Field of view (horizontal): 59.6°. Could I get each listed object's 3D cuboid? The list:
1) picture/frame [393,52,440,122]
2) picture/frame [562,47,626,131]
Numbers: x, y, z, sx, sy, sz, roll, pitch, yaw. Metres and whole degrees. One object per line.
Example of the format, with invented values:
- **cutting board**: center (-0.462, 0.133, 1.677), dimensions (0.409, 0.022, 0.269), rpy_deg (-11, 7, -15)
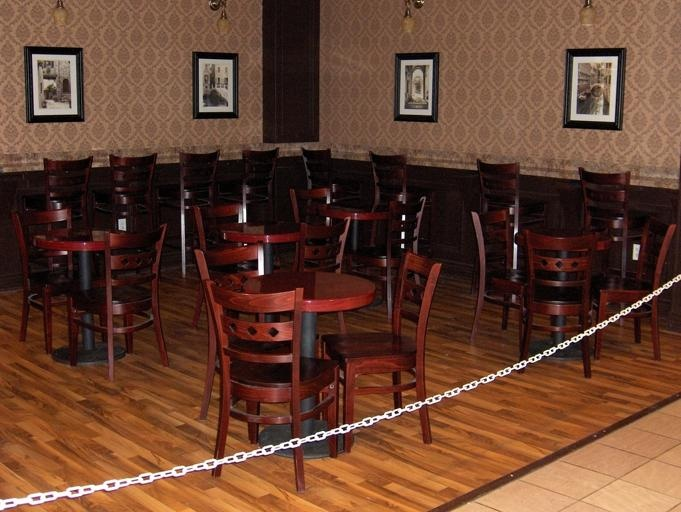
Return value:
- **picture/frame**: center (1.051, -2.318, 8.123), dimensions (0.190, 0.925, 0.742), rpy_deg (-12, 18, -43)
- **picture/frame**: center (2.868, -1.885, 6.669), dimensions (0.180, 0.900, 0.722), rpy_deg (-9, 16, -36)
